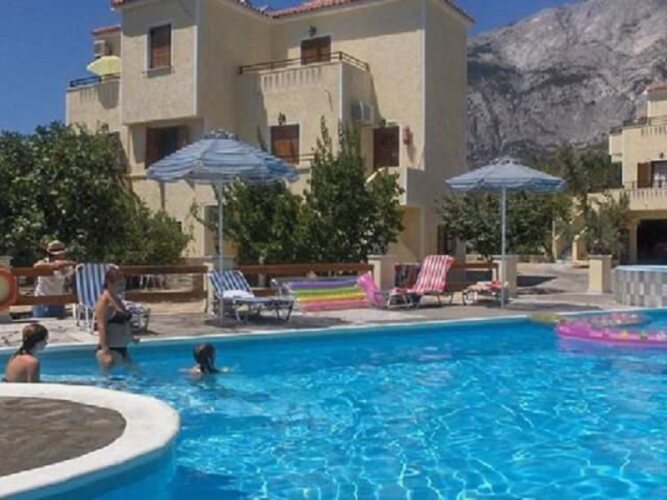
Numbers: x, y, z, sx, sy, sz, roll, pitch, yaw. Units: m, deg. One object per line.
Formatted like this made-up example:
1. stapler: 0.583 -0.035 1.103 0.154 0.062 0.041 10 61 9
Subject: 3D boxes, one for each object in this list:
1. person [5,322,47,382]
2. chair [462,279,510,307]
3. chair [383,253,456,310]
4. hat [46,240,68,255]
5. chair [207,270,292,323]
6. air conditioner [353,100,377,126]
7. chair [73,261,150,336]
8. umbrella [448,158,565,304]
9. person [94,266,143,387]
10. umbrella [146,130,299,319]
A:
1. person: -4.117 1.373 10.536 0.488 0.774 0.406 2 10 1
2. chair: 4.066 1.109 21.075 0.850 0.466 0.882 0 2 33
3. chair: 2.110 0.781 19.757 1.498 1.095 1.112 -1 2 -33
4. hat: -5.889 -0.036 16.660 0.436 0.197 0.405 -1 2 14
5. chair: -1.895 0.933 16.504 0.940 0.903 1.694 0 -1 -38
6. air conditioner: 1.021 -4.989 28.951 0.420 0.821 0.951 10 14 38
7. chair: -4.229 0.893 14.938 0.920 1.283 1.350 3 0 -40
8. umbrella: 4.209 -0.792 20.106 2.759 2.944 2.927 -1 1 42
9. person: -3.480 1.179 12.653 0.664 1.696 0.478 -7 13 -39
10. umbrella: -2.409 -0.662 16.776 2.862 3.640 2.911 1 3 31
